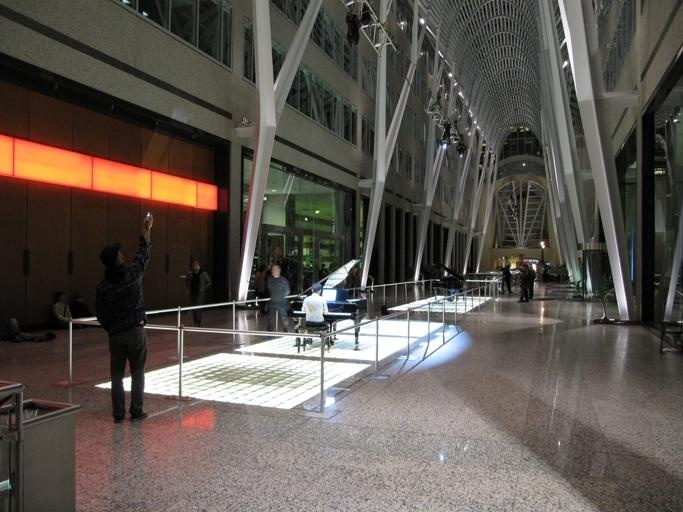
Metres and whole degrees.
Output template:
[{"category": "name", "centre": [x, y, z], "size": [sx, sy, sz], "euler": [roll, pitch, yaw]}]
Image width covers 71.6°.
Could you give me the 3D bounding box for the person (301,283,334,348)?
[{"category": "person", "centre": [-0.610, 1.275, 11.297], "size": [0.556, 1.525, 0.812], "euler": [4, 16, 7]}]

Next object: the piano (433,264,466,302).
[{"category": "piano", "centre": [6.045, 1.397, 26.953], "size": [1.201, 1.899, 1.380], "euler": [-3, -3, 6]}]

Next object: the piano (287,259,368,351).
[{"category": "piano", "centre": [-0.423, 1.214, 12.276], "size": [1.261, 1.655, 2.230], "euler": [-2, -4, 19]}]

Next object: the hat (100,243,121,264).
[{"category": "hat", "centre": [-2.987, -0.031, 6.101], "size": [0.208, 0.310, 0.280], "euler": [1, 0, -25]}]

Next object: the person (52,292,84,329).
[{"category": "person", "centre": [-7.784, 1.472, 13.154], "size": [0.539, 1.114, 0.952], "euler": [1, 0, -31]}]

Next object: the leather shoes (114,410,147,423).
[{"category": "leather shoes", "centre": [-2.786, 2.089, 6.250], "size": [0.128, 0.191, 0.408], "euler": [-3, -13, 29]}]

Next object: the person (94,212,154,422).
[{"category": "person", "centre": [-2.862, 0.793, 6.177], "size": [0.641, 2.787, 0.557], "euler": [1, 0, -28]}]
